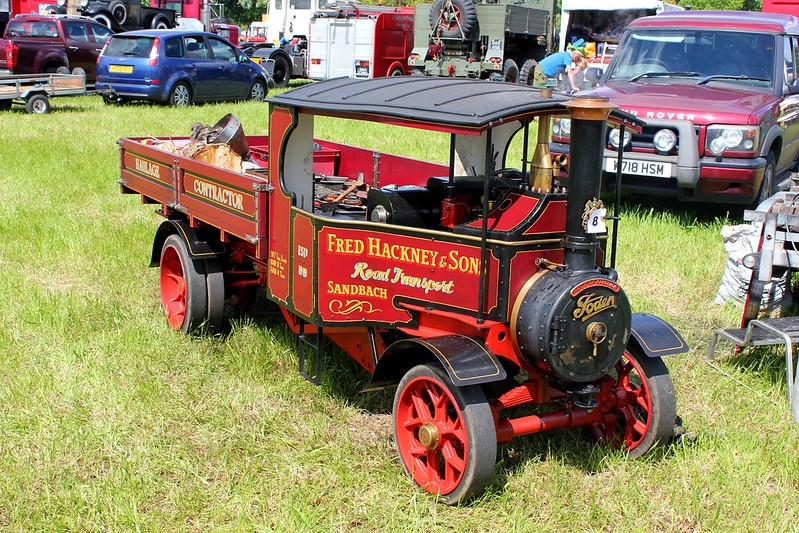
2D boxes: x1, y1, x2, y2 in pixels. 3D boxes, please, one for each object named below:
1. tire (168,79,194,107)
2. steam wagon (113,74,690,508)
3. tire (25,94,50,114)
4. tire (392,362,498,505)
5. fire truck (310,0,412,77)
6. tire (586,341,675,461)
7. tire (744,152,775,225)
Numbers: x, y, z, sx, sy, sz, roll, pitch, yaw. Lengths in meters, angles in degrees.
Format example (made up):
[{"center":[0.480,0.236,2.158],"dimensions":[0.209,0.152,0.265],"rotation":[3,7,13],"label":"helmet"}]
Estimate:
[{"center":[-5.951,-4.745,19.281],"dimensions":[0.199,0.628,0.595],"rotation":[6,23,26],"label":"tire"},{"center":[-0.476,-0.343,6.990],"dimensions":[2.248,3.078,5.248],"rotation":[-9,20,-44],"label":"steam wagon"},{"center":[-9.021,-4.051,17.685],"dimensions":[0.178,0.554,0.512],"rotation":[11,5,42],"label":"tire"},{"center":[0.340,1.234,5.152],"dimensions":[0.715,0.837,0.205],"rotation":[26,13,38],"label":"tire"},{"center":[-1.409,-8.147,26.114],"dimensions":[3.555,2.308,2.256],"rotation":[0,17,-2],"label":"fire truck"},{"center":[1.784,1.039,5.471],"dimensions":[0.288,0.806,0.657],"rotation":[-6,27,-25],"label":"tire"},{"center":[4.527,-1.012,8.968],"dimensions":[0.263,0.880,0.857],"rotation":[10,42,28],"label":"tire"}]
